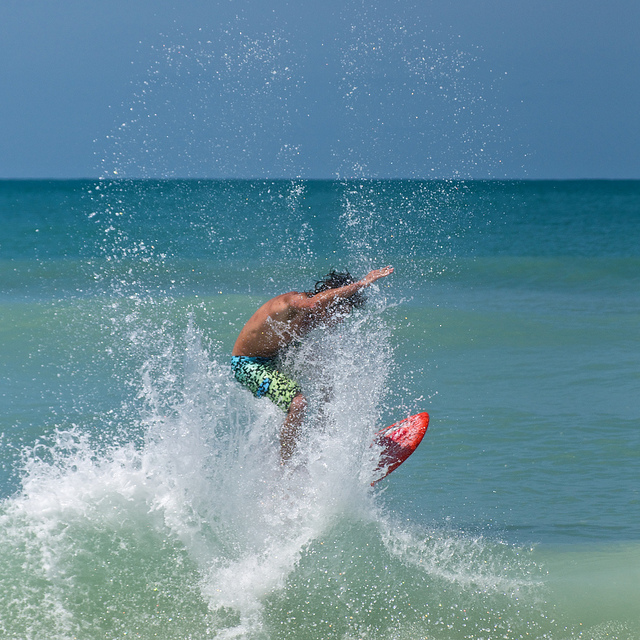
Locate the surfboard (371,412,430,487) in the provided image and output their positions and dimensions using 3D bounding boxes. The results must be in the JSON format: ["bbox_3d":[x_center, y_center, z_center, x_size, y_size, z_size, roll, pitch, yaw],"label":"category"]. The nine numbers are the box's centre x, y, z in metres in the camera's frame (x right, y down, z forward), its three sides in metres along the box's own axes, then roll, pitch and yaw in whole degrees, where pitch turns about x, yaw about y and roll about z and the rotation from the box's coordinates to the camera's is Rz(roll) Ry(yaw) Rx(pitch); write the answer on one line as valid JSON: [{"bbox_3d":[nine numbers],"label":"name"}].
[{"bbox_3d":[0.746,1.116,10.095,0.926,0.138,0.293,-39,41,-16],"label":"surfboard"}]
